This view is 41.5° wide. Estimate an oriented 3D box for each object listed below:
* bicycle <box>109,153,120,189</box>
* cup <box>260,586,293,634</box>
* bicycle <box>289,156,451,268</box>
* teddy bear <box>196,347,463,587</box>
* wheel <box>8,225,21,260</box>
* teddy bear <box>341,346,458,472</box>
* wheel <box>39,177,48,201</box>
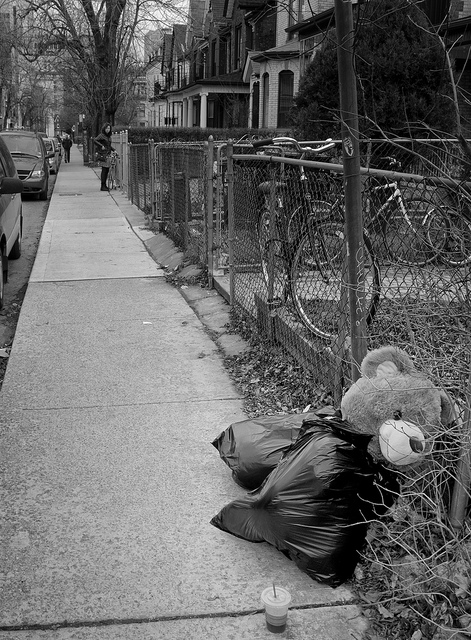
[{"bbox_3d":[-4.603,-5.586,23.296,0.532,1.304,0.735,4,-12,-10],"label":"bicycle"},{"bbox_3d":[0.130,0.942,2.031,0.091,0.130,0.111,0,11,-6],"label":"cup"},{"bbox_3d":[0.798,-0.831,3.915,0.961,0.666,0.508,12,20,-16],"label":"bicycle"},{"bbox_3d":[0.339,0.521,2.390,0.842,0.856,0.425,10,13,39],"label":"teddy bear"},{"bbox_3d":[-3.441,-1.182,9.693,0.183,0.481,0.636,-2,12,-20],"label":"wheel"},{"bbox_3d":[0.537,0.331,2.257,0.449,0.447,0.308,11,14,41],"label":"teddy bear"},{"bbox_3d":[-5.826,-4.049,18.875,0.188,0.675,0.629,1,5,-9],"label":"wheel"}]
